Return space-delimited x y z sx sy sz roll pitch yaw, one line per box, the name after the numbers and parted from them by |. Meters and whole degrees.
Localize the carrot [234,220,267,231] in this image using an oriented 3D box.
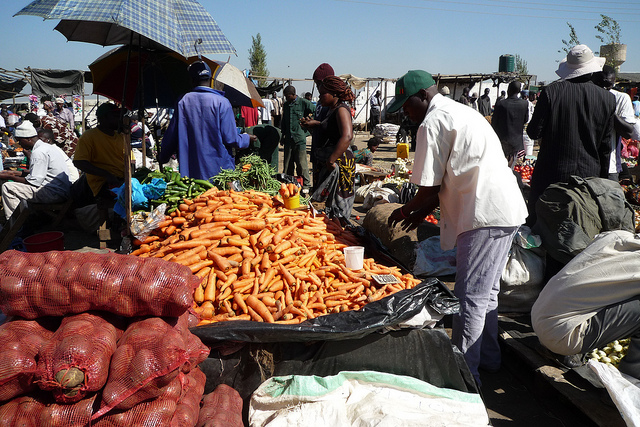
-0.706 0.109 4.468 0.296 0.116 0.128 0 17 4 | carrot

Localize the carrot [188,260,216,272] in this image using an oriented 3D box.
-1.104 0.484 4.167 0.275 0.075 0.069 -11 34 -37 | carrot

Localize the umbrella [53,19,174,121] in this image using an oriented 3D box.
-2.586 -2.007 6.122 1.236 1.185 1.314 5 20 21 | umbrella

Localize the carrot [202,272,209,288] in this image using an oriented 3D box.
-1.042 0.618 4.039 0.029 0.084 0.083 23 -9 25 | carrot

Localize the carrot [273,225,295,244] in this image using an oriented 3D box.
-0.369 0.200 4.462 0.066 0.086 0.321 40 48 18 | carrot

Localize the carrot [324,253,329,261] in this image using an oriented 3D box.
0.062 0.439 4.448 0.032 0.019 0.060 14 35 -13 | carrot

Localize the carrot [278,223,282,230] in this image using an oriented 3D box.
-0.413 0.135 4.534 0.041 0.028 0.082 1 23 -8 | carrot

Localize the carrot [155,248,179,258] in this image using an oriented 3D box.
-1.482 0.387 4.312 0.163 0.036 0.043 -23 0 1 | carrot

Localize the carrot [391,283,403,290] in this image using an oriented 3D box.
0.728 0.685 4.128 0.059 0.017 0.045 26 42 32 | carrot

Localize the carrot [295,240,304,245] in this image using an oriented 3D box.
-0.199 0.288 4.488 0.036 0.029 0.109 18 21 37 | carrot

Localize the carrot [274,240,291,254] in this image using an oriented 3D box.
-0.357 0.323 4.330 0.192 0.065 0.063 -36 14 -27 | carrot

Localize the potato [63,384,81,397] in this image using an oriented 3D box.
-1.571 1.141 2.803 0.080 0.062 0.082 -1 10 3 | potato

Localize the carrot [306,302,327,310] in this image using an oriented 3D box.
-0.031 0.820 3.915 0.178 0.063 0.055 1 33 2 | carrot

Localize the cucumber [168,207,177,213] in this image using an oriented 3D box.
-1.662 -0.040 4.992 0.103 0.028 0.027 -36 26 -35 | cucumber

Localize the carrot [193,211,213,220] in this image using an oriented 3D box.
-1.233 0.010 4.635 0.122 0.053 0.098 3 10 10 | carrot

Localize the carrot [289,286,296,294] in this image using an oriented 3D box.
-0.253 0.703 4.048 0.047 0.017 0.049 0 44 1 | carrot

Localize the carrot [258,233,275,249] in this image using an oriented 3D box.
-0.535 0.269 4.363 0.067 0.063 0.158 17 45 29 | carrot

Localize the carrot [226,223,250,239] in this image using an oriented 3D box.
-0.824 0.144 4.472 0.231 0.095 0.099 29 51 9 | carrot

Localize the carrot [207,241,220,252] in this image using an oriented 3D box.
-1.031 0.316 4.305 0.165 0.040 0.037 -35 49 -29 | carrot

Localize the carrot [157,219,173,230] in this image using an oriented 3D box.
-1.661 0.111 4.773 0.229 0.071 0.069 -10 22 -16 | carrot

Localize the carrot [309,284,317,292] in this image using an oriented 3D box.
-0.061 0.691 4.073 0.044 0.055 0.043 -1 -2 -44 | carrot

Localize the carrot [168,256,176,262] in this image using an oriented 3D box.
-1.373 0.423 4.112 0.061 0.017 0.062 10 15 41 | carrot

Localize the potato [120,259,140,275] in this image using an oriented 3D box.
-1.336 0.379 3.111 0.128 0.069 0.099 -1 17 -17 | potato

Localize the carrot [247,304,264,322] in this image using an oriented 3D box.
-0.557 0.856 3.780 0.032 0.080 0.139 -23 65 -20 | carrot

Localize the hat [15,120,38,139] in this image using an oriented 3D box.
-4.592 -1.309 6.910 0.300 0.228 0.245 6 10 38 | hat

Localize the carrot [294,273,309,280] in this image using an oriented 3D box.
-0.172 0.589 4.132 0.143 0.047 0.046 14 -13 -9 | carrot

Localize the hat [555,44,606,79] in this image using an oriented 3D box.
3.232 -1.955 5.484 0.624 0.245 0.539 -41 36 -27 | hat

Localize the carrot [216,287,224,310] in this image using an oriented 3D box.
-0.892 0.741 3.919 0.039 0.151 0.056 -12 -18 16 | carrot

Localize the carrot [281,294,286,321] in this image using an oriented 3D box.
-0.318 0.812 3.862 0.045 0.037 0.178 17 47 -13 | carrot

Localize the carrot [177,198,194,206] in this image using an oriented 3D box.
-1.476 -0.136 4.958 0.114 0.039 0.064 33 19 32 | carrot

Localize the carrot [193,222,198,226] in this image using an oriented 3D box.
-1.327 0.110 4.703 0.055 0.038 0.012 12 18 23 | carrot

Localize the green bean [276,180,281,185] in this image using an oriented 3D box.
-0.546 -0.416 5.790 0.082 0.022 0.086 7 14 -27 | green bean

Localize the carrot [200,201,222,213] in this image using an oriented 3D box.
-1.156 -0.057 4.718 0.235 0.060 0.069 -25 48 -33 | carrot

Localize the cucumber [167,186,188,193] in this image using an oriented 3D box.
-1.708 -0.290 5.292 0.145 0.043 0.034 20 13 16 | cucumber

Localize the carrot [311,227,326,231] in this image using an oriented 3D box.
0.013 0.161 4.771 0.118 0.031 0.027 9 13 -44 | carrot

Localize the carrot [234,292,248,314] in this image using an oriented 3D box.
-0.688 0.775 3.851 0.069 0.072 0.233 -35 52 8 | carrot

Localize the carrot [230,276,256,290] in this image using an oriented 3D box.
-0.689 0.623 4.004 0.236 0.066 0.068 -8 28 -31 | carrot

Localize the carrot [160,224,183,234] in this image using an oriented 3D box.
-1.625 0.144 4.760 0.133 0.053 0.136 -19 6 38 | carrot

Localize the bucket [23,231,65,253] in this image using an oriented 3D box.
-3.401 0.376 5.463 0.399 0.202 0.503 -8 21 -36 | bucket

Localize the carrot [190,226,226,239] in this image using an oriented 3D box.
-1.122 0.185 4.465 0.395 0.101 0.114 -12 2 -14 | carrot

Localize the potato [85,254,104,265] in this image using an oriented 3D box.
-1.583 0.315 3.120 0.073 0.023 0.071 15 7 -2 | potato

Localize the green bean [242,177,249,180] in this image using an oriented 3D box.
-0.934 -0.444 5.549 0.013 0.031 0.068 16 20 36 | green bean

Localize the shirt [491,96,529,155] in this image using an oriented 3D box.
4.005 -1.756 9.243 0.632 1.865 0.689 8 33 26 | shirt

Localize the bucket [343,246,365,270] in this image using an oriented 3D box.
0.329 0.430 4.287 0.195 0.210 0.190 0 4 0 | bucket

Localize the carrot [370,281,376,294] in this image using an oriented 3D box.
0.494 0.694 4.108 0.030 0.029 0.098 27 39 -29 | carrot

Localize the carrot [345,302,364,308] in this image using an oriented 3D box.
0.307 0.823 3.955 0.103 0.029 0.058 3 28 14 | carrot

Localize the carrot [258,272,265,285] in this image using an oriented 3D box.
-0.530 0.603 4.048 0.031 0.030 0.104 38 52 -15 | carrot

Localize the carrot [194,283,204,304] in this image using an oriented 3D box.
-1.058 0.709 3.916 0.077 0.055 0.166 20 43 -8 | carrot

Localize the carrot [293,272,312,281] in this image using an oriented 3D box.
-0.167 0.596 4.131 0.198 0.054 0.063 19 -23 -3 | carrot

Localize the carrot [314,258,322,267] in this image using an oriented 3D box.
-0.013 0.492 4.392 0.033 0.026 0.117 -14 69 -55 | carrot

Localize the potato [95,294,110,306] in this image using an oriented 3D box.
-1.497 0.595 3.036 0.074 0.058 0.074 3 -1 2 | potato

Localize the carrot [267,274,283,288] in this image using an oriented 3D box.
-0.414 0.620 4.075 0.054 0.046 0.208 17 41 38 | carrot

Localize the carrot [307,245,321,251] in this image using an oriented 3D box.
-0.055 0.351 4.529 0.165 0.049 0.037 -6 -8 -15 | carrot

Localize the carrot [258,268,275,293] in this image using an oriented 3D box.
-0.474 0.593 4.019 0.065 0.074 0.267 16 44 9 | carrot

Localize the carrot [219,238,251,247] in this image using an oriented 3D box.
-0.853 0.277 4.356 0.212 0.063 0.117 6 30 -3 | carrot

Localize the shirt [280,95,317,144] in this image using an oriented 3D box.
-0.534 -2.065 9.748 0.681 0.986 0.725 5 17 4 | shirt

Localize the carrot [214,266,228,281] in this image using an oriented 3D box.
-0.913 0.557 4.062 0.065 0.063 0.198 -4 31 -34 | carrot

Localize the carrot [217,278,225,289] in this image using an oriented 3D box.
-0.904 0.639 4.002 0.052 0.040 0.071 -2 54 3 | carrot
